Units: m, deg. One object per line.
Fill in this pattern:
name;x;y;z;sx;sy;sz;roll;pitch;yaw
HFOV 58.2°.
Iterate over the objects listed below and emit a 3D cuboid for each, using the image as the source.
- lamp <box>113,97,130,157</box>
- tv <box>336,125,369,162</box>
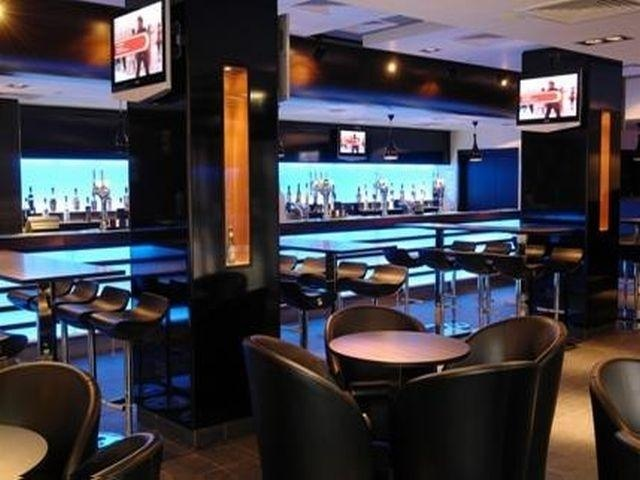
lamp;-3.277;-1.794;9.455;0.223;0.757;0.928;-5;2;-18
tv;0.650;-1.886;11.502;0.845;0.592;0.194;-6;3;-44
